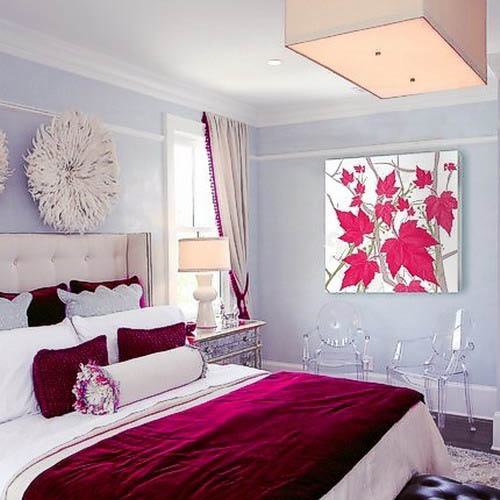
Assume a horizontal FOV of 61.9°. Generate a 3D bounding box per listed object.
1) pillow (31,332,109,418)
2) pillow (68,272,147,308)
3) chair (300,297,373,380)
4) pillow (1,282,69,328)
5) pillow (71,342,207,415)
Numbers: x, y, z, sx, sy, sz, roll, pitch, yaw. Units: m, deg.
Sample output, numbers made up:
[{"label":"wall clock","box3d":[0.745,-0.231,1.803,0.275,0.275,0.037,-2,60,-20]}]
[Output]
[{"label":"pillow","box3d":[-0.903,0.624,2.134,0.139,0.292,0.433,0,4,27]},{"label":"pillow","box3d":[-1.070,0.258,3.005,0.106,0.254,0.369,-17,-16,31]},{"label":"chair","box3d":[0.981,0.963,4.551,0.957,0.921,0.507,0,-2,16]},{"label":"pillow","box3d":[-1.252,0.339,2.583,0.096,0.235,0.242,-23,-13,40]},{"label":"pillow","box3d":[-0.561,0.703,2.359,0.280,0.270,0.785,-26,-14,25]}]
